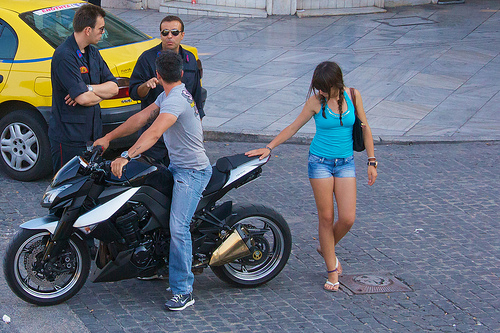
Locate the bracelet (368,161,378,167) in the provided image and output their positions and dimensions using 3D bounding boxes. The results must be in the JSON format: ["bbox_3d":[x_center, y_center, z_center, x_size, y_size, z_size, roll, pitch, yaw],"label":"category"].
[{"bbox_3d":[1.443,-0.032,6.211,0.093,0.048,0.083,1,3,7],"label":"bracelet"}]

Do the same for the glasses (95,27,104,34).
[{"bbox_3d":[-1.773,-1.625,6.168,0.079,0.086,0.213,-2,24,-4],"label":"glasses"}]

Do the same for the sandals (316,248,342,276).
[{"bbox_3d":[0.943,1.139,6.151,0.165,0.396,0.106,-35,15,17],"label":"sandals"}]

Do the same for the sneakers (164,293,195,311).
[{"bbox_3d":[-0.738,1.432,5.545,0.336,0.143,0.126,-12,50,-28],"label":"sneakers"}]

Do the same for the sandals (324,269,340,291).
[{"bbox_3d":[0.909,1.321,5.895,0.122,0.115,0.330,1,2,12],"label":"sandals"}]

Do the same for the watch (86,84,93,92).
[{"bbox_3d":[-1.884,-0.929,6.149,0.073,0.083,0.100,5,18,-9],"label":"watch"}]

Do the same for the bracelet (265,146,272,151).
[{"bbox_3d":[0.199,-0.196,5.767,0.053,0.019,0.054,39,4,18],"label":"bracelet"}]
